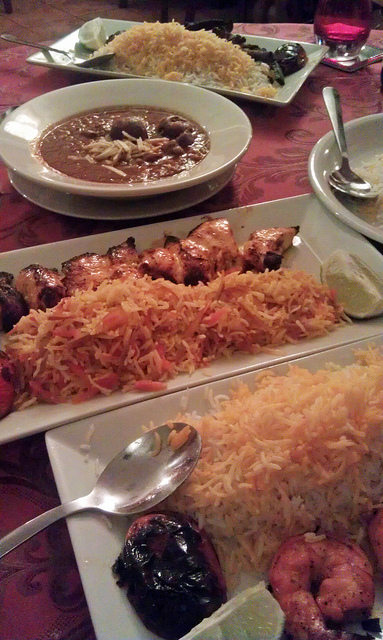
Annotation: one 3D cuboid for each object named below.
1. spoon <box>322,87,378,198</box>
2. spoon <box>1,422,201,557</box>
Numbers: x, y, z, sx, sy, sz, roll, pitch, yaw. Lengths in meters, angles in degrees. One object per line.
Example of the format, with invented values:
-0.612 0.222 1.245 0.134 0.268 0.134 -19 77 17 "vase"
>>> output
0.542 -0.666 2.005 0.132 0.077 0.516 -3 65 -15 "spoon"
-0.116 0.319 1.076 0.132 0.071 0.526 35 37 29 "spoon"
